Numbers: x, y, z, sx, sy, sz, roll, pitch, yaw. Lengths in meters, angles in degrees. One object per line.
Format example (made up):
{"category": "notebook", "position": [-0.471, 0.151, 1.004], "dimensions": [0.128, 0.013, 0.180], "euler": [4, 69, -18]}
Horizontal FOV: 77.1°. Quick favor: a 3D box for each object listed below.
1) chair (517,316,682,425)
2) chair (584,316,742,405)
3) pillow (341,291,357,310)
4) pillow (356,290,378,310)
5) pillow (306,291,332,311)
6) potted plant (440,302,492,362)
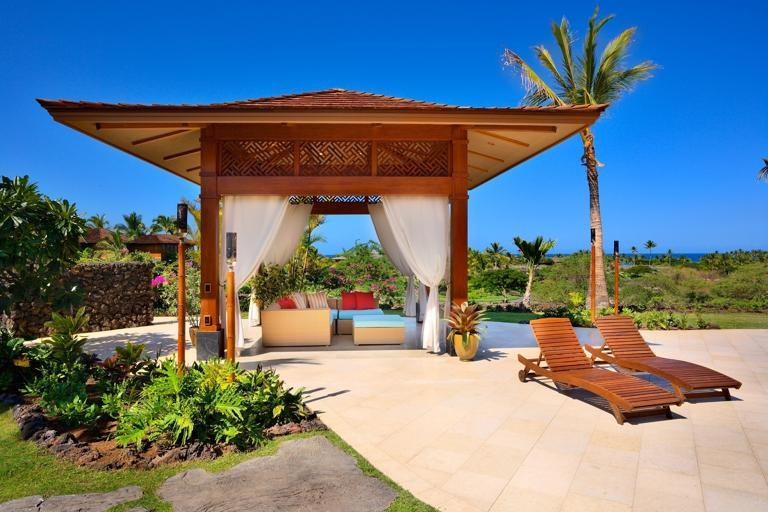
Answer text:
{"category": "chair", "position": [3.548, 1.871, 8.401], "dimensions": [1.264, 1.068, 2.765], "euler": [0, -1, -18]}
{"category": "chair", "position": [4.937, 1.857, 8.860], "dimensions": [1.030, 0.976, 2.681], "euler": [3, -3, -13]}
{"category": "pillow", "position": [-0.967, 1.241, 13.393], "dimensions": [0.420, 0.431, 0.199], "euler": [3, -10, -1]}
{"category": "pillow", "position": [-0.525, 1.230, 13.425], "dimensions": [0.490, 0.458, 0.150], "euler": [1, -12, -10]}
{"category": "pillow", "position": [-1.620, 1.117, 11.930], "dimensions": [0.483, 0.453, 0.153], "euler": [-11, -6, -10]}
{"category": "potted plant", "position": [1.738, 1.617, 10.539], "dimensions": [0.751, 1.220, 0.867], "euler": [-1, -4, 7]}
